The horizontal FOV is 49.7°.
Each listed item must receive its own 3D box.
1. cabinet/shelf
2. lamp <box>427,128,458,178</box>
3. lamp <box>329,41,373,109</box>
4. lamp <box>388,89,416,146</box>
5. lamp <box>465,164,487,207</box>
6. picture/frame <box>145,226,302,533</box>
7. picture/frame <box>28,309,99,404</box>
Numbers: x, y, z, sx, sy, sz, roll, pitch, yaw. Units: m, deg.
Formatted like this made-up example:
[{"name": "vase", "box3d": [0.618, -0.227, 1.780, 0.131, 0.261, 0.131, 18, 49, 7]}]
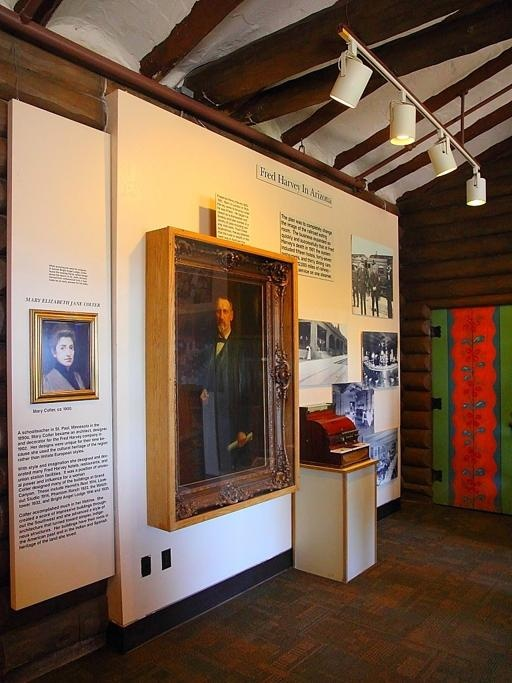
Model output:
[{"name": "cabinet/shelf", "box3d": [0.573, 1.264, 3.983, 0.674, 0.696, 0.679, -6, -9, 41]}, {"name": "lamp", "box3d": [1.217, -1.263, 3.756, 0.178, 0.289, 0.186, -32, 26, -32]}, {"name": "lamp", "box3d": [0.479, -1.352, 2.784, 0.193, 0.381, 0.372, -1, -3, 10]}, {"name": "lamp", "box3d": [0.847, -1.302, 3.207, 0.132, 0.297, 0.180, -1, -3, 12]}, {"name": "lamp", "box3d": [1.695, -1.200, 4.252, 0.118, 0.304, 0.315, -1, -3, 26]}, {"name": "picture/frame", "box3d": [-0.175, 0.195, 3.091, 0.952, 1.502, 0.266, 3, -4, -45]}, {"name": "picture/frame", "box3d": [-0.911, 0.070, 2.556, 0.059, 0.596, 0.435, 2, 3, 40]}]
